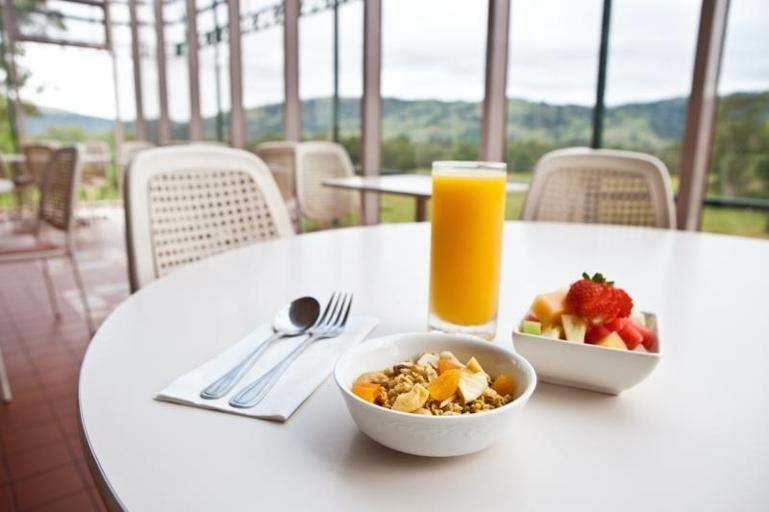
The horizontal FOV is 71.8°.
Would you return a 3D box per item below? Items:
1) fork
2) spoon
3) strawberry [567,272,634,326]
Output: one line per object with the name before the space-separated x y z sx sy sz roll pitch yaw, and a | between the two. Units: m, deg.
fork | -0.096 0.097 0.777 0.050 0.055 0.353 -3 19 23
spoon | -0.152 0.115 0.731 0.051 0.038 0.252 -2 24 24
strawberry | 0.271 0.052 0.659 0.068 0.036 0.063 2 -23 0
